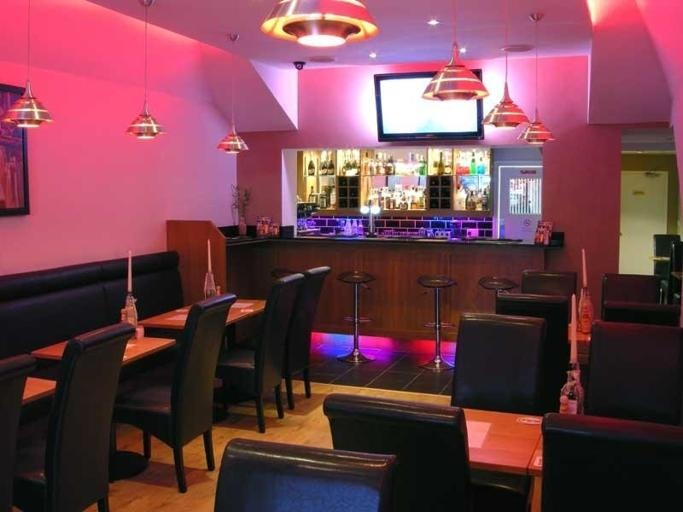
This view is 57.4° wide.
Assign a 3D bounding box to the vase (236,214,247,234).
[{"bbox_3d":[-1.324,-0.435,8.386,0.118,0.262,0.380,-1,8,-9],"label":"vase"}]

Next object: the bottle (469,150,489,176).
[{"bbox_3d":[1.992,-1.365,8.933,0.278,0.354,0.349,2,8,11],"label":"bottle"}]

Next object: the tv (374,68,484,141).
[{"bbox_3d":[0.957,-1.632,6.676,1.377,0.928,0.195,1,6,13],"label":"tv"}]

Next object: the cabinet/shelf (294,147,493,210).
[{"bbox_3d":[0.733,-1.148,9.343,2.919,0.946,0.731,4,9,23],"label":"cabinet/shelf"}]

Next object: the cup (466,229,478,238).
[{"bbox_3d":[1.968,-0.358,9.337,0.179,0.182,0.096,-1,-3,26],"label":"cup"}]

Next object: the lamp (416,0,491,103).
[{"bbox_3d":[0.646,-1.057,3.516,0.363,0.335,0.324,2,8,11],"label":"lamp"}]

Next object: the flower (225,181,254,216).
[{"bbox_3d":[-1.371,-0.768,8.493,0.358,0.712,0.348,2,1,6],"label":"flower"}]

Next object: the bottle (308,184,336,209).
[{"bbox_3d":[-0.275,-0.966,9.894,0.380,0.407,0.378,5,9,20],"label":"bottle"}]

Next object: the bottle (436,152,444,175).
[{"bbox_3d":[1.441,-1.342,8.950,0.110,0.323,0.124,5,9,29],"label":"bottle"}]

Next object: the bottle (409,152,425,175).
[{"bbox_3d":[1.123,-1.369,9.124,0.222,0.330,0.297,1,8,5],"label":"bottle"}]

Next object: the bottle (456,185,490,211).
[{"bbox_3d":[1.905,-0.850,9.063,0.490,0.352,0.168,2,8,11],"label":"bottle"}]
